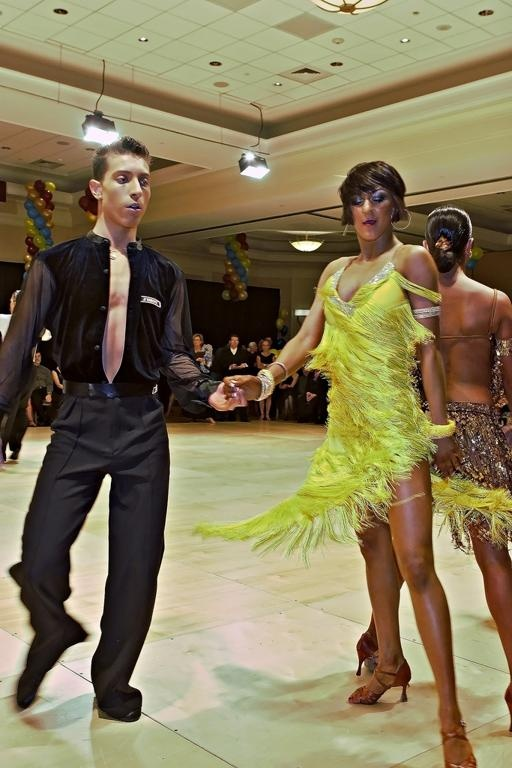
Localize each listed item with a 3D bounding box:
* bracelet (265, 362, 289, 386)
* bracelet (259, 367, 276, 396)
[{"bbox_3d":[0.066,-0.032,1.704,0.053,0.050,0.074,-21,-8,1],"label":"bracelet"},{"bbox_3d":[0.026,-0.001,1.636,0.034,0.068,0.060,7,-2,-5],"label":"bracelet"}]
